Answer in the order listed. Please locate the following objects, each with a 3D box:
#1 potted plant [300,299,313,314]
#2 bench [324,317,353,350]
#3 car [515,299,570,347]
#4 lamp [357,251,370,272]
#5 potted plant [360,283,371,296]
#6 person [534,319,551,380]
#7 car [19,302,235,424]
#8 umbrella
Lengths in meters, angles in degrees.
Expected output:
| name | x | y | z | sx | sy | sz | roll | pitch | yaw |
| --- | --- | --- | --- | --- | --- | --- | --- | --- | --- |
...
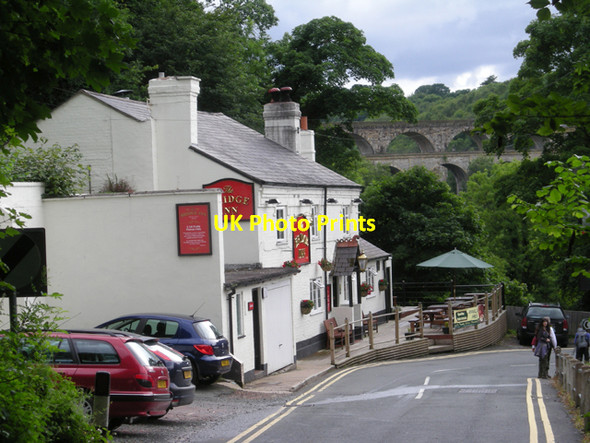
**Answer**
| name | x | y | z | sx | sy | sz | roll | pitch | yaw |
| --- | --- | --- | --- | --- | --- | --- | --- | --- | --- |
| potted plant | 0.476 | 3.039 | 34.464 | 0.442 | 0.466 | 0.477 | -3 | -4 | 30 |
| bench | 1.760 | 4.112 | 35.987 | 0.834 | 1.174 | 0.940 | -5 | 2 | 14 |
| car | 9.908 | 4.045 | 39.125 | 1.574 | 1.428 | 3.228 | 0 | 1 | 5 |
| lamp | 2.618 | 1.566 | 37.753 | 0.659 | 0.942 | 0.605 | -3 | 3 | -1 |
| potted plant | 2.971 | 2.821 | 40.278 | 0.478 | 0.483 | 0.468 | 2 | -9 | -3 |
| person | 7.522 | 3.829 | 29.226 | 0.608 | 1.807 | 1.125 | -4 | -1 | 13 |
| car | -4.936 | 3.167 | 22.443 | 4.719 | 1.701 | 2.168 | 4 | -3 | 15 |
| umbrella | 7.676 | 2.585 | 47.023 | 2.805 | 1.981 | 2.796 | 1 | 1 | -6 |
